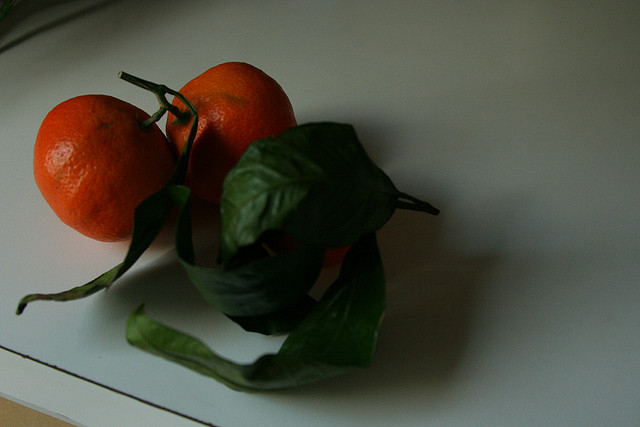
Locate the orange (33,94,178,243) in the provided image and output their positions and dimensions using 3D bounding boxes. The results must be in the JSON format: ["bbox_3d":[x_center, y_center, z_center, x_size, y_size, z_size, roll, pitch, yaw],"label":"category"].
[{"bbox_3d":[-0.263,-0.053,0.799,0.179,0.145,0.170,24,-7,-19],"label":"orange"}]
